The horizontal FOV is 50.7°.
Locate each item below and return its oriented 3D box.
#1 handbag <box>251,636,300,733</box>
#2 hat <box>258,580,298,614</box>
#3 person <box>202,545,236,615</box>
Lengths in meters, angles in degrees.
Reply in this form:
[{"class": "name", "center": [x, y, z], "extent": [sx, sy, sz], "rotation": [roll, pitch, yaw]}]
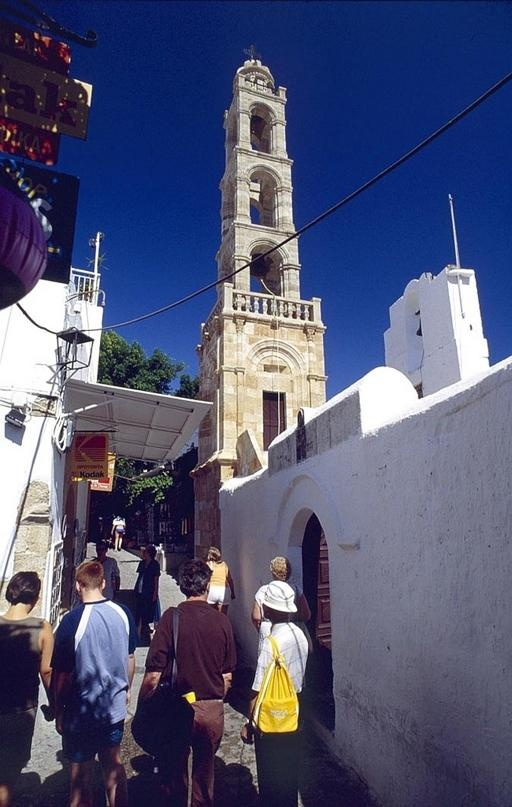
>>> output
[{"class": "handbag", "center": [0.097, 1.534, 2.893], "extent": [0.236, 0.472, 0.175], "rotation": [1, -9, -6]}, {"class": "hat", "center": [0.110, 1.211, 3.273], "extent": [0.160, 0.087, 0.221], "rotation": [12, 11, -22]}, {"class": "person", "center": [-0.435, 2.254, 6.488], "extent": [0.340, 1.048, 0.298], "rotation": [1, 5, 18]}]
